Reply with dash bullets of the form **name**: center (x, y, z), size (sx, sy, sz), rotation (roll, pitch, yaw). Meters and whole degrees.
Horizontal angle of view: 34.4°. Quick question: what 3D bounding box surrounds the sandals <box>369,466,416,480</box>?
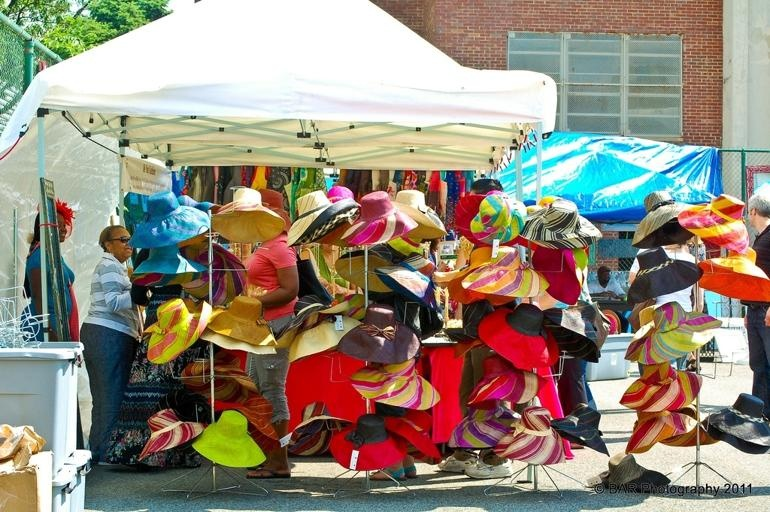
- **sandals**: center (0.083, 2.150, 12.310), size (0.449, 0.152, 0.162), rotation (2, -6, -9)

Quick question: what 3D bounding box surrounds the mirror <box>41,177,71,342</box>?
- **mirror**: center (-3.258, 0.013, 12.216), size (0.229, 1.587, 0.476), rotation (-3, 9, -14)

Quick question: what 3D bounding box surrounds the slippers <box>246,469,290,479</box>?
- **slippers**: center (-1.160, 2.153, 12.379), size (0.372, 0.074, 0.136), rotation (4, -8, -10)
